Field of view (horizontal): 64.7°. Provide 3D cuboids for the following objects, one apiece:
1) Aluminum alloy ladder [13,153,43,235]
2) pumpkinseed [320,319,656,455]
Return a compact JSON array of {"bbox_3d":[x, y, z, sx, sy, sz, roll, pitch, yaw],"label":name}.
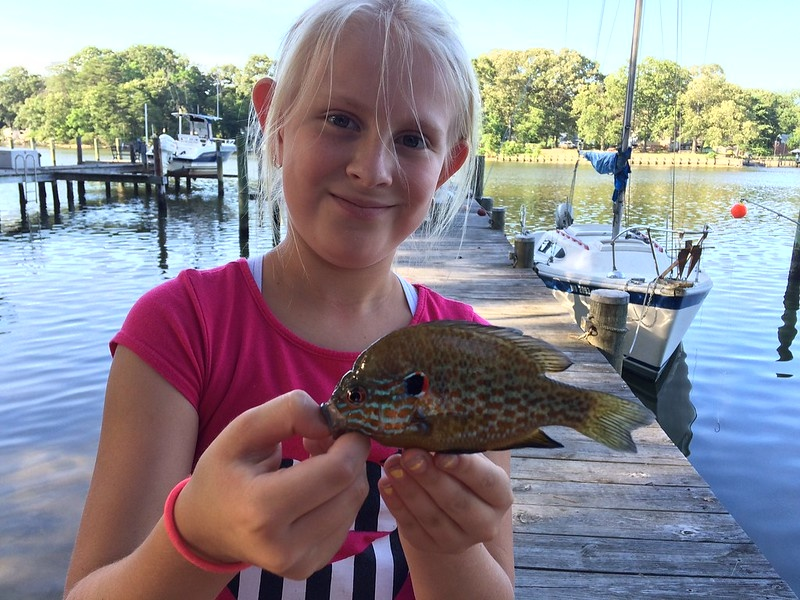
[{"bbox_3d":[-13.213,-4.045,22.316,0.971,2.363,3.904,-5,19,-26],"label":"Aluminum alloy ladder"},{"bbox_3d":[0.251,0.273,1.916,0.964,0.374,0.164,4,16,-1],"label":"pumpkinseed"}]
